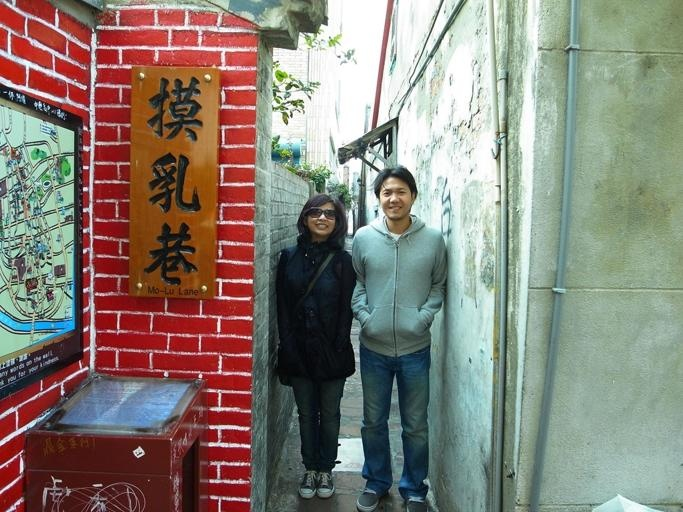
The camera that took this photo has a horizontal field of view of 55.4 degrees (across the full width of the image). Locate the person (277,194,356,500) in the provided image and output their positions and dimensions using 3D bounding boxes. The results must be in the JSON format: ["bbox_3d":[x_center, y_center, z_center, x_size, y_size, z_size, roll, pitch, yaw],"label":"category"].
[{"bbox_3d":[-0.178,0.582,4.320,0.523,2.009,0.383,1,-6,-6],"label":"person"}]

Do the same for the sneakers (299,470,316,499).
[{"bbox_3d":[-0.225,1.512,4.287,0.069,0.083,0.197,2,0,1],"label":"sneakers"}]
